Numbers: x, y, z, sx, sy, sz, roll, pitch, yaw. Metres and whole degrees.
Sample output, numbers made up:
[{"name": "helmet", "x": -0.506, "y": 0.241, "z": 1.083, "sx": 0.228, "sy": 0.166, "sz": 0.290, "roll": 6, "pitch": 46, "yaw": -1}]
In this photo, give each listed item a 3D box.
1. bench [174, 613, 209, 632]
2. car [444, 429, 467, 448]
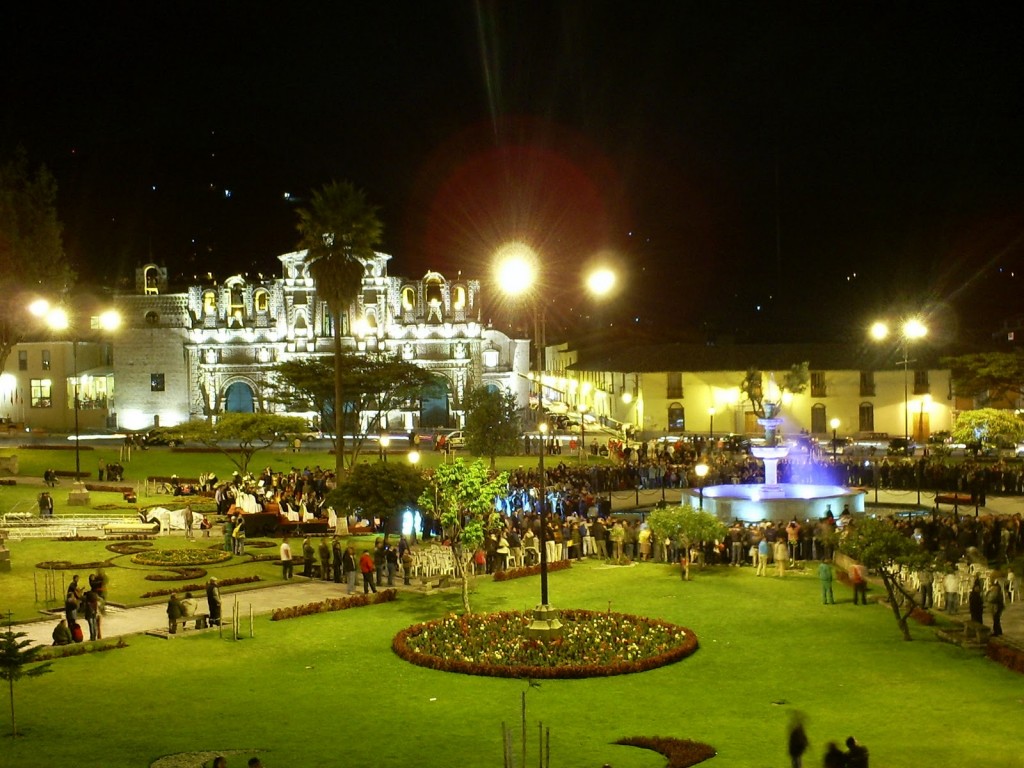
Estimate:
[{"name": "bench", "x": -10.662, "y": 7.966, "z": 33.291, "sx": 0.383, "sy": 0.405, "sz": 1.128, "roll": 5, "pitch": -2, "yaw": 28}, {"name": "car", "x": -4.627, "y": 4.426, "z": 81.944, "sx": 1.543, "sy": 1.389, "sz": 2.707, "roll": 0, "pitch": -8, "yaw": 6}]
